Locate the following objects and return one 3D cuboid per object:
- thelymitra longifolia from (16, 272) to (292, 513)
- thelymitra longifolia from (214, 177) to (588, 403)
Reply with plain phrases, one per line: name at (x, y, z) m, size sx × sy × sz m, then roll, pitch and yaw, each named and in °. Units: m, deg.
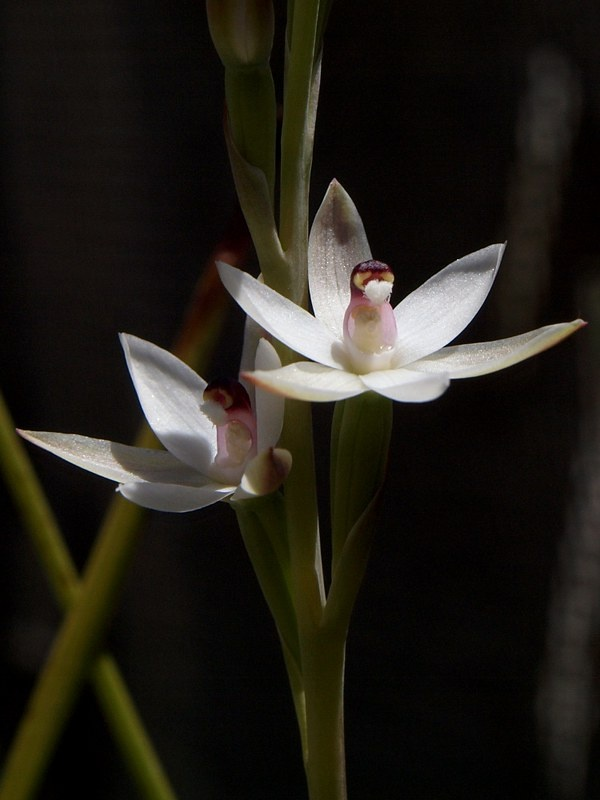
thelymitra longifolia at (-0.099, 0.006, 0.642) m, size 0.084 × 0.147 × 0.148 m, roll 31°, pitch -56°, yaw -30°
thelymitra longifolia at (0.049, -0.071, 0.701) m, size 0.285 × 0.118 × 0.259 m, roll 7°, pitch -9°, yaw -18°
